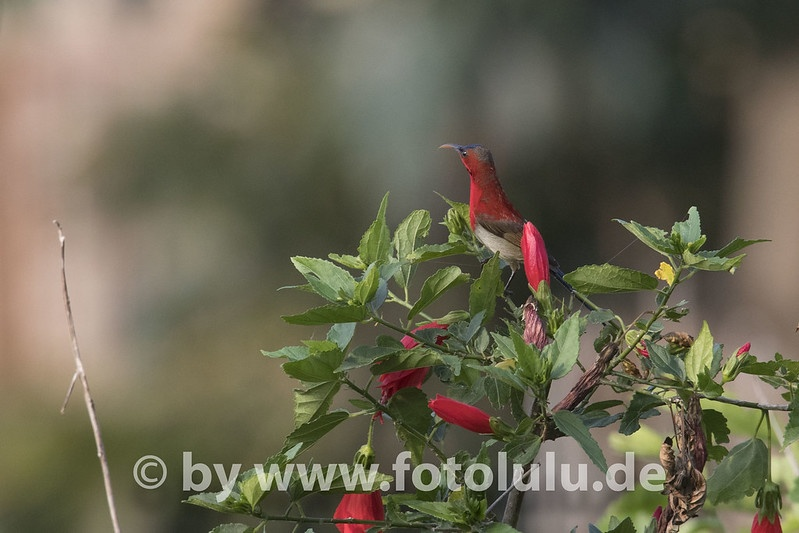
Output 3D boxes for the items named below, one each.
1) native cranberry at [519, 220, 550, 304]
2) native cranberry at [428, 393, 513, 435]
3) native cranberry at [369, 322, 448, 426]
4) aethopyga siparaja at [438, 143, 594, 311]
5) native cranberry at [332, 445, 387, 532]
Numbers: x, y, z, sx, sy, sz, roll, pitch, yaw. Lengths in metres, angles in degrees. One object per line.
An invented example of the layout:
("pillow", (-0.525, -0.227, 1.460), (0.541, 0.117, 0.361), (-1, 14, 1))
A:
("native cranberry", (0.378, -0.010, 2.868), (0.076, 0.199, 0.072), (-5, 17, -19))
("native cranberry", (0.174, 0.419, 2.827), (0.194, 0.155, 0.065), (14, 50, 14))
("native cranberry", (0.041, 0.308, 2.898), (0.152, 0.311, 0.113), (7, 22, 23))
("aethopyga siparaja", (0.374, -0.131, 3.085), (0.551, 0.393, 0.161), (11, 9, 13))
("native cranberry", (-0.109, 0.636, 2.844), (0.099, 0.269, 0.107), (-8, 11, -30))
